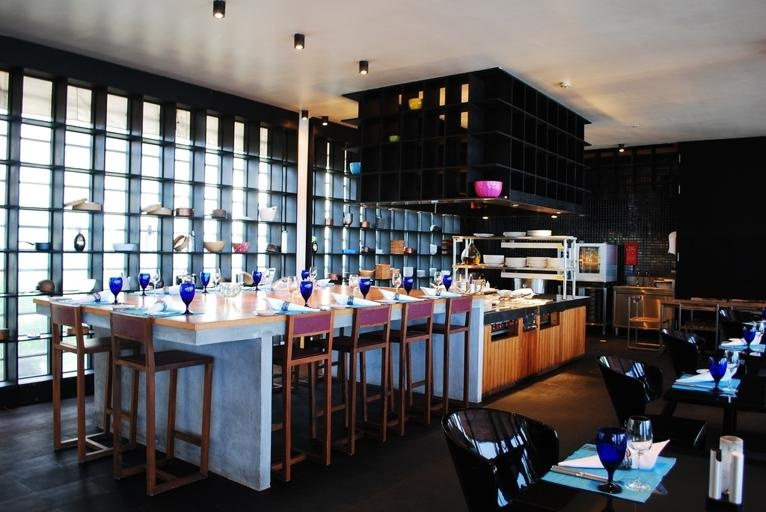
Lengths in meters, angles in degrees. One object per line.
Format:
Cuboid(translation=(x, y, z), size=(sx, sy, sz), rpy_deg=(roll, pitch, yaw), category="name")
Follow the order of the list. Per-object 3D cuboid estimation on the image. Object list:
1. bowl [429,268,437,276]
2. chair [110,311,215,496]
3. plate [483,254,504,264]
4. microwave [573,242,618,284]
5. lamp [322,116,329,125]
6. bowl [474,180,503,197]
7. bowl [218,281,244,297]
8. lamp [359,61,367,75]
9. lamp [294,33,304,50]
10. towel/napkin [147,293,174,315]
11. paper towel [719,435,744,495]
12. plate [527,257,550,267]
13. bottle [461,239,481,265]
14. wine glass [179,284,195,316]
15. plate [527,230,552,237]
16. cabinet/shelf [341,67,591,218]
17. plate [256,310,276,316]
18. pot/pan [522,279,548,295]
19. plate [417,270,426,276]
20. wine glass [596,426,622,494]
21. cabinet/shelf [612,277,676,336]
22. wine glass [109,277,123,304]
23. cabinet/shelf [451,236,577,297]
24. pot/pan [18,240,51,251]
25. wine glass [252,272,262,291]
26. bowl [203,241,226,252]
Cuboid(translation=(0.575, 0.185, 6.606), size=(0.093, 0.156, 0.174), rpy_deg=(-1, 0, 6), category="bowl")
Cuboid(translation=(-1.834, 1.070, 4.498), size=(0.991, 1.304, 0.594), rpy_deg=(0, 2, 42), category="chair")
Cuboid(translation=(1.471, 0.062, 7.489), size=(0.340, 0.126, 0.242), rpy_deg=(-1, 1, -8), category="plate")
Cuboid(translation=(3.631, 0.118, 10.047), size=(0.760, 0.681, 0.716), rpy_deg=(-3, 6, -21), category="microwave")
Cuboid(translation=(-0.831, -1.958, 8.238), size=(0.088, 0.089, 0.083), rpy_deg=(2, -4, -24), category="lamp")
Cuboid(translation=(1.146, -0.730, 6.245), size=(0.313, 0.222, 0.232), rpy_deg=(-1, 1, 14), category="bowl")
Cuboid(translation=(-1.362, 0.304, 5.097), size=(0.199, 0.102, 0.175), rpy_deg=(0, -6, 0), category="bowl")
Cuboid(translation=(-0.211, -2.039, 6.187), size=(0.105, 0.106, 0.100), rpy_deg=(0, 0, 8), category="lamp")
Cuboid(translation=(-0.846, -2.112, 5.624), size=(0.103, 0.102, 0.097), rpy_deg=(1, -1, 3), category="lamp")
Cuboid(translation=(-1.714, 0.370, 4.352), size=(0.185, 0.090, 0.262), rpy_deg=(3, -5, -26), category="towel/napkin")
Cuboid(translation=(1.653, 0.987, 2.713), size=(0.082, 0.250, 0.173), rpy_deg=(0, 1, 31), category="paper towel")
Cuboid(translation=(2.001, 0.087, 7.450), size=(0.169, 0.083, 0.150), rpy_deg=(-2, -4, 29), category="plate")
Cuboid(translation=(1.101, -0.036, 7.209), size=(0.221, 0.291, 0.409), rpy_deg=(-1, 1, 12), category="bottle")
Cuboid(translation=(-1.494, 0.315, 4.350), size=(0.091, 0.235, 0.240), rpy_deg=(-1, 1, -18), category="wine glass")
Cuboid(translation=(2.011, -0.286, 7.350), size=(0.254, 0.085, 0.677), rpy_deg=(-1, 1, 12), category="plate")
Cuboid(translation=(1.146, -1.291, 7.964), size=(2.526, 1.389, 3.550), rpy_deg=(0, 1, 40), category="cabinet/shelf")
Cuboid(translation=(-0.876, 0.428, 4.234), size=(0.131, 0.027, 0.101), rpy_deg=(-1, 1, -12), category="plate")
Cuboid(translation=(2.050, 0.419, 7.990), size=(0.311, 0.177, 0.320), rpy_deg=(-1, -2, 42), category="pot/pan")
Cuboid(translation=(0.636, 0.297, 9.669), size=(0.104, 0.067, 0.119), rpy_deg=(3, 4, 36), category="plate")
Cuboid(translation=(1.148, 0.999, 2.830), size=(0.107, 0.313, 0.182), rpy_deg=(0, 2, 45), category="wine glass")
Cuboid(translation=(4.466, 0.902, 9.743), size=(0.909, 0.732, 0.568), rpy_deg=(2, 6, 32), category="cabinet/shelf")
Cuboid(translation=(-2.214, 0.279, 4.730), size=(0.083, 0.214, 0.332), rpy_deg=(-2, 1, -28), category="wine glass")
Cuboid(translation=(1.682, 0.070, 7.719), size=(1.445, 0.671, 0.505), rpy_deg=(2, 13, 22), category="cabinet/shelf")
Cuboid(translation=(-3.708, -0.102, 6.060), size=(0.310, 0.091, 0.128), rpy_deg=(-1, -2, -4), category="pot/pan")
Cuboid(translation=(-1.353, 0.261, 6.099), size=(0.075, 0.199, 0.369), rpy_deg=(-1, 1, -10), category="wine glass")
Cuboid(translation=(-2.138, -0.117, 7.243), size=(0.172, 0.083, 0.163), rpy_deg=(-4, -3, 0), category="bowl")
